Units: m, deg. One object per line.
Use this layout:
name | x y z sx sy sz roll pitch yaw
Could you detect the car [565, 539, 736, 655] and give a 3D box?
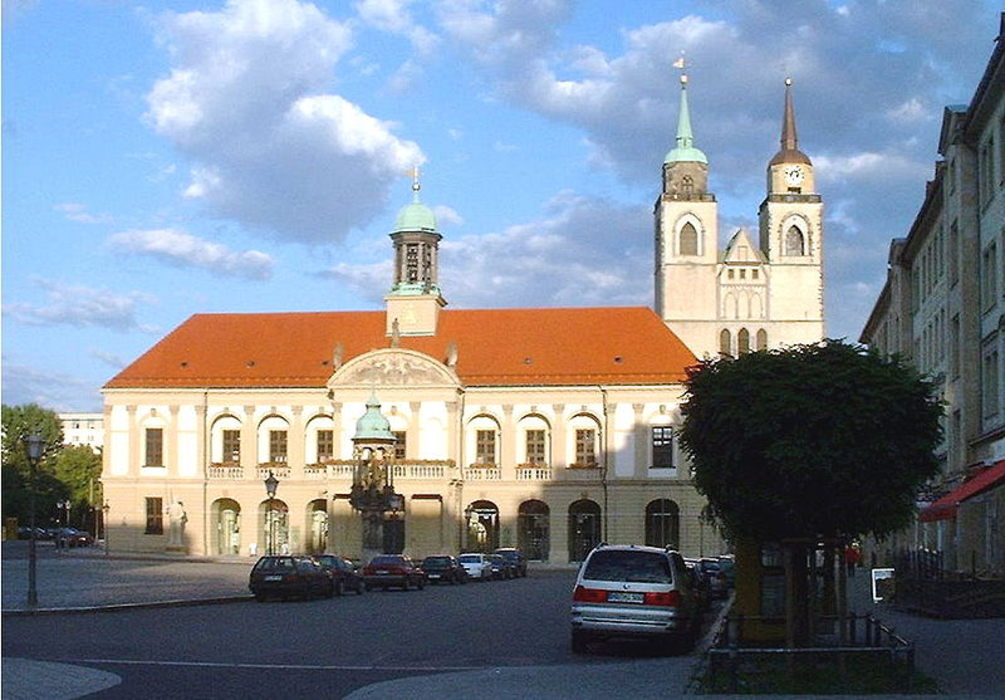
car | 3.414 6.299 45.443 2.537 2.780 2.777 -5 -13 20
